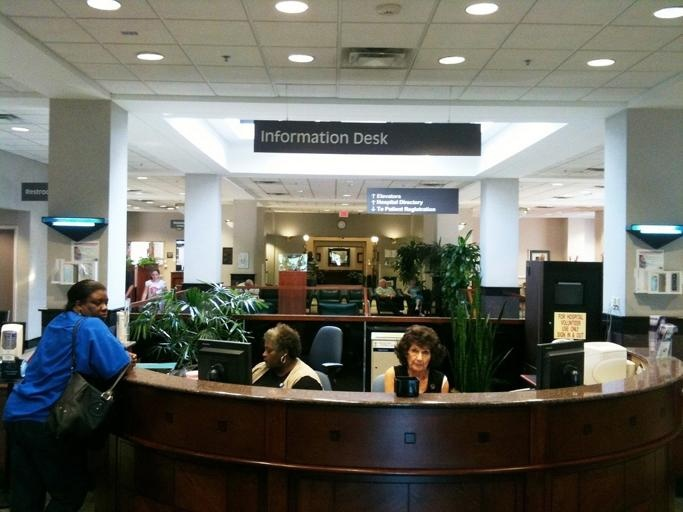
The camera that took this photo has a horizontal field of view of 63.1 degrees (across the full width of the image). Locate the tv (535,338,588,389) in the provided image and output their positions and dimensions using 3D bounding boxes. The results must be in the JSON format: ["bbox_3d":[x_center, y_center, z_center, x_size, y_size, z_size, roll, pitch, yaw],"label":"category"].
[{"bbox_3d":[1.717,0.844,4.298,0.474,0.449,0.162,0,2,-23],"label":"tv"}]

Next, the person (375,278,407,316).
[{"bbox_3d":[1.167,1.053,13.331,0.556,0.696,0.769,1,-8,-6],"label":"person"}]

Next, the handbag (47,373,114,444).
[{"bbox_3d":[-1.854,1.055,3.903,0.363,0.478,0.249,32,-22,-16],"label":"handbag"}]

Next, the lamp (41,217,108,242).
[{"bbox_3d":[-3.089,-0.319,6.480,0.683,0.294,0.385,-1,2,-19],"label":"lamp"}]

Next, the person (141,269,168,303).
[{"bbox_3d":[-4.006,0.596,11.885,0.408,0.614,1.087,-1,2,-18],"label":"person"}]

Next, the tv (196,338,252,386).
[{"bbox_3d":[-0.876,0.801,4.154,0.354,0.340,0.123,1,1,18],"label":"tv"}]

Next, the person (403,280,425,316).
[{"bbox_3d":[1.719,0.996,12.984,0.453,0.601,1.073,-2,13,5],"label":"person"}]
